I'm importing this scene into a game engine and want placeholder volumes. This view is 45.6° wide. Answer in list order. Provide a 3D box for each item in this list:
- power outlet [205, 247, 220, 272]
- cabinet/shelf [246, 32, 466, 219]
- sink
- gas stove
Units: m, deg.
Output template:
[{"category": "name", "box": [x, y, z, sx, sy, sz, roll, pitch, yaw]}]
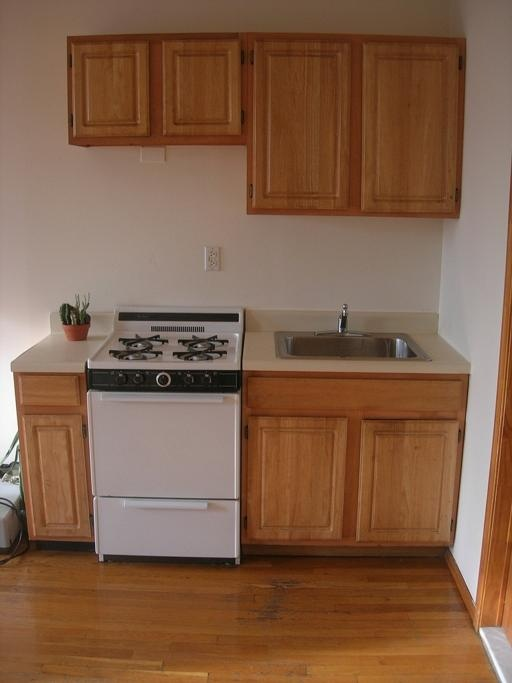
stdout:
[{"category": "power outlet", "box": [-0.197, -0.374, 2.706, 0.101, 0.143, 0.015, 1, 12, 1]}, {"category": "cabinet/shelf", "box": [0.376, -0.824, 2.503, 0.818, 0.671, 0.431, 0, 4, -1]}, {"category": "sink", "box": [0.365, 0.048, 2.508, 0.600, 0.117, 0.456, 2, 13, 4]}, {"category": "gas stove", "box": [-0.345, 0.087, 2.351, 0.567, 0.134, 0.370, 0, 13, -2]}]
